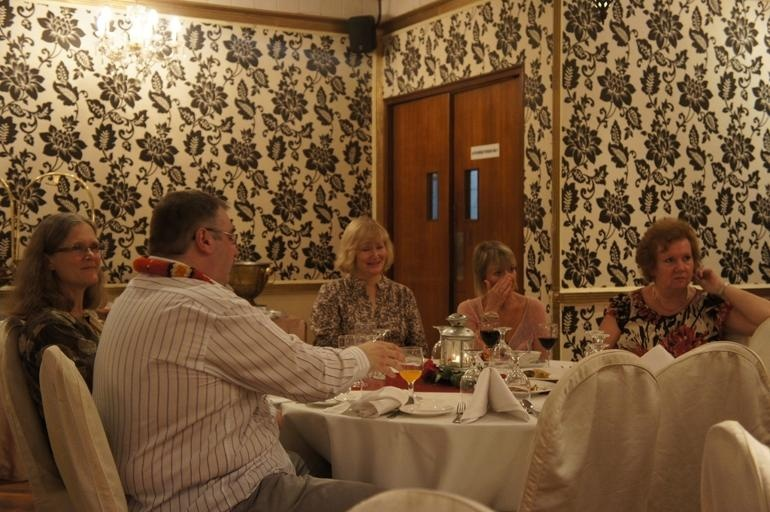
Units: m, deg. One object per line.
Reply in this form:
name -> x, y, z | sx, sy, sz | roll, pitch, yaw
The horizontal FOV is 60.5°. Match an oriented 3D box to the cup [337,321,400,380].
cup -> -0.094, 0.434, 3.034 | 0.195, 0.207, 0.271 | -5, -8, 38

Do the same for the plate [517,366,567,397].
plate -> 0.649, 0.530, 2.803 | 0.156, 0.032, 0.163 | -5, 5, -36

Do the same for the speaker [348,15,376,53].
speaker -> -0.206, -2.033, 5.987 | 0.304, 0.389, 0.129 | 1, 8, 19

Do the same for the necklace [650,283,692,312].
necklace -> 1.524, 0.242, 3.532 | 0.125, 0.175, 0.182 | 2, -19, 8

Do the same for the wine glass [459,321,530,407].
wine glass -> 0.415, 0.443, 2.698 | 0.262, 0.326, 0.276 | 0, -10, 0

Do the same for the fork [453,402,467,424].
fork -> 0.274, 0.585, 2.450 | 0.021, 0.017, 0.134 | -10, 19, 16
